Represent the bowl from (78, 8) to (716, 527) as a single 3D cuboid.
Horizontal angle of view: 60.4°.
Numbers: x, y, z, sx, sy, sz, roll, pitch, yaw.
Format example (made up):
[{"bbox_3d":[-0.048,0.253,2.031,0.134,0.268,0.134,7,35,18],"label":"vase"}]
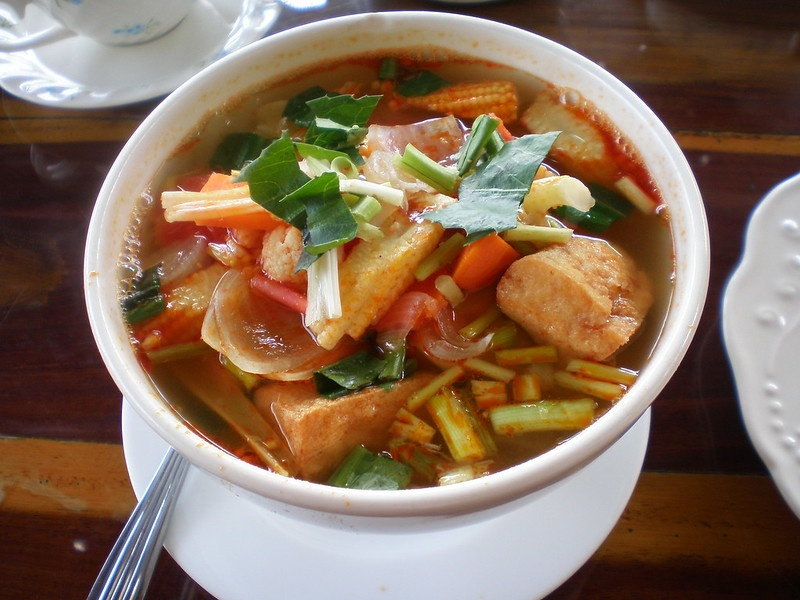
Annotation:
[{"bbox_3d":[-0.011,-0.166,1.668,1.452,0.254,1.319,11,76,5],"label":"bowl"}]
